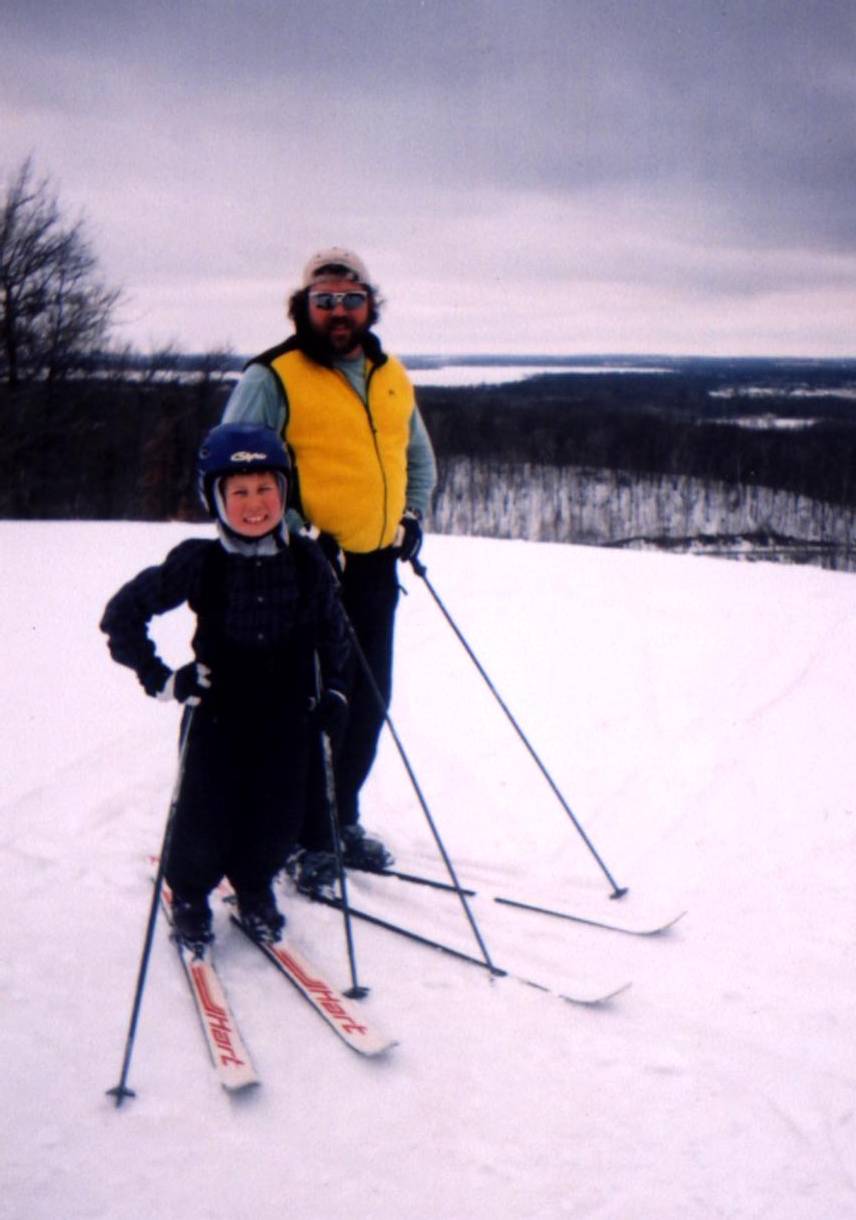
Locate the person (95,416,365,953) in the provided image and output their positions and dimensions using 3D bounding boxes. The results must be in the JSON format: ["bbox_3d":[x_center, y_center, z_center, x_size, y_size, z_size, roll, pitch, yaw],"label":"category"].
[{"bbox_3d":[-0.506,0.220,3.108,0.586,1.527,0.383,-3,28,-15],"label":"person"}]

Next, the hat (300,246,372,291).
[{"bbox_3d":[-0.250,-0.955,3.358,0.180,0.111,0.124,4,10,-5],"label":"hat"}]

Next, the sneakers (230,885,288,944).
[{"bbox_3d":[-0.460,0.828,3.295,0.068,0.101,0.203,-2,16,-32],"label":"sneakers"}]

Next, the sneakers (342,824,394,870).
[{"bbox_3d":[-0.185,0.798,3.965,0.156,0.187,0.106,2,11,9],"label":"sneakers"}]

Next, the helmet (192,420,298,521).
[{"bbox_3d":[-0.433,-0.329,2.873,0.178,0.228,0.225,-5,7,-25],"label":"helmet"}]

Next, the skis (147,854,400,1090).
[{"bbox_3d":[-0.407,0.865,2.846,0.206,0.107,0.670,-3,18,-29],"label":"skis"}]

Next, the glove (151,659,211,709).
[{"bbox_3d":[-0.617,0.185,2.979,0.114,0.104,0.065,1,8,-25],"label":"glove"}]

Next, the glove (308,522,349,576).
[{"bbox_3d":[-0.281,-0.181,3.469,0.038,0.121,0.121,-29,0,10],"label":"glove"}]
